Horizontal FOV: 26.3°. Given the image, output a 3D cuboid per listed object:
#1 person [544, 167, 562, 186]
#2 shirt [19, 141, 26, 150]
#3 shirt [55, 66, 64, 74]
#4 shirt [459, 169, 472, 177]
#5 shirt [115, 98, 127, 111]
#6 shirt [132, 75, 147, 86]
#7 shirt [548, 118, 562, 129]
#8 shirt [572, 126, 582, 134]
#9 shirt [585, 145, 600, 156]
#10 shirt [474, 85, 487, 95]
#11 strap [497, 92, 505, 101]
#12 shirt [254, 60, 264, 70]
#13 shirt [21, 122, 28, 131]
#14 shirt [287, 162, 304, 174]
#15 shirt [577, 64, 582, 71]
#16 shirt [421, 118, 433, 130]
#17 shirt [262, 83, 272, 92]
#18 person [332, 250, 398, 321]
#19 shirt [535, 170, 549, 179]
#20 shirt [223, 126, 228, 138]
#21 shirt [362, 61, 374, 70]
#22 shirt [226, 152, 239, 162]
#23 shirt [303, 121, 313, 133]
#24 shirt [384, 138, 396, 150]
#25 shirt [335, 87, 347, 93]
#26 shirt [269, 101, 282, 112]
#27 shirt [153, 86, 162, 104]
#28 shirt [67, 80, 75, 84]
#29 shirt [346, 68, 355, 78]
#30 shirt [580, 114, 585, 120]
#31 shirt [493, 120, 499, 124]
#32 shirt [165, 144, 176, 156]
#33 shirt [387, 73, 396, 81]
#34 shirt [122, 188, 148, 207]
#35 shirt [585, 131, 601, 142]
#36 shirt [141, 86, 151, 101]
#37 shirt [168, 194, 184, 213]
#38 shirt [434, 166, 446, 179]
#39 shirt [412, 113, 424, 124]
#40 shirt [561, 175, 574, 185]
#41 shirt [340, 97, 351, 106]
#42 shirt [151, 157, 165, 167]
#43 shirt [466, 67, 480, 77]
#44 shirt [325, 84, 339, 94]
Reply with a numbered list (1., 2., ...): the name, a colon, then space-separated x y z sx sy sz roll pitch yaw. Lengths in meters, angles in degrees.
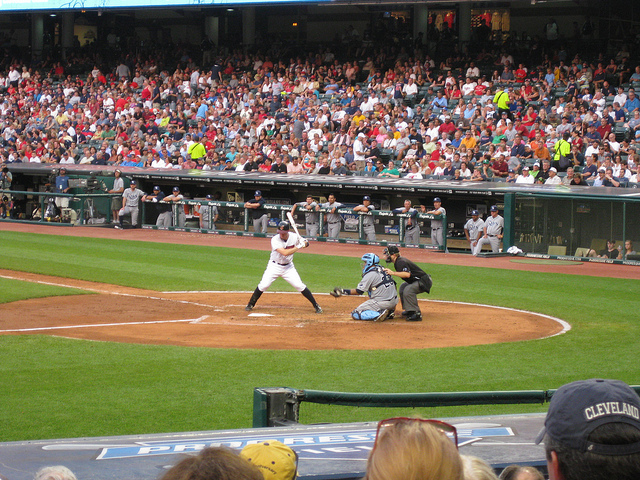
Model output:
1. person: 8.028 -2.153 46.456 0.519 0.743 0.849 -3 5 -9
2. shirt: -13.147 -4.194 59.877 0.369 0.259 0.366 -10 23 -39
3. shirt: -12.852 -8.356 67.014 0.423 0.348 0.324 2 2 -15
4. shirt: 5.140 -2.370 48.166 0.477 0.176 0.244 4 37 44
5. shirt: -8.932 -6.069 61.011 0.659 0.545 0.335 4 -10 1
6. shirt: -8.317 -7.361 62.681 0.645 0.572 0.333 7 -36 25
7. shirt: 8.396 -4.166 48.417 0.284 0.285 0.356 -5 -12 26
8. shirt: 9.019 -3.875 47.556 0.231 0.276 0.259 -4 -18 -23
9. shirt: 9.367 -3.001 46.750 0.299 0.374 0.520 18 14 -25
10. shirt: 6.151 -5.800 52.391 0.503 0.380 0.204 3 2 28
11. strap: 6.693 -5.313 50.276 0.091 0.310 0.304 19 -3 -29
12. shirt: -2.740 -7.833 60.872 0.406 0.454 0.565 2 1 -5
13. shirt: -13.579 -5.194 62.168 0.280 0.385 0.688 2 1 4
14. shirt: -0.938 -2.775 51.542 0.815 0.341 0.248 3 2 34
15. shirt: 9.829 -6.534 51.460 0.223 0.048 0.213 18 40 19
16. shirt: 3.989 -4.370 50.925 0.414 0.400 0.624 2 1 3
17. shirt: -2.272 -6.492 57.802 0.363 0.395 0.282 2 2 0
18. person: 1.397 1.275 37.677 1.485 1.821 0.474 2 2 1
19. shirt: 7.643 -2.283 46.754 0.191 0.304 0.520 1 2 -37
20. shirt: -3.898 -4.472 55.808 0.186 0.417 0.607 2 1 -5
21. shirt: 2.021 -7.337 57.304 0.461 0.255 0.293 -8 18 1
22. shirt: -3.574 -3.340 53.975 0.385 0.343 0.707 2 1 -20
23. shirt: -0.466 -4.548 54.021 0.411 0.502 0.287 0 -1 3
24. shirt: 2.622 -3.634 51.052 0.338 0.405 0.445 -1 -19 6
25. shirt: 0.872 -6.184 55.939 0.408 0.289 1.018 2 1 -3
26. shirt: -1.830 -5.475 55.589 0.598 0.430 0.207 3 -7 20
27. shirt: -7.299 -6.470 60.774 0.353 0.805 0.579 -10 -14 -3
28. shirt: -11.862 -7.492 64.498 0.187 0.195 0.466 2 1 11
29. shirt: 1.246 -7.006 56.929 0.319 0.358 0.242 2 2 1
30. shirt: 9.277 -4.344 48.109 0.193 0.162 0.103 4 13 15
31. shirt: 6.494 -4.360 50.012 0.144 0.165 0.369 2 1 12
32. shirt: -6.037 -3.716 55.443 0.642 0.547 0.336 -1 -3 7
33. shirt: 2.853 -6.585 54.786 0.445 0.315 0.235 -1 -14 8
34. shirt: -7.275 -1.700 52.699 0.780 0.527 0.719 5 31 2
35. shirt: 9.464 -3.632 47.228 0.554 0.392 0.310 3 -2 45
36. shirt: -7.786 -6.559 61.025 0.462 0.612 0.211 4 2 45
37. shirt: -5.403 -1.449 52.016 0.830 0.944 0.557 -1 0 -6
38. shirt: 4.298 -2.445 48.596 0.327 0.407 0.158 0 -19 15
39. shirt: 3.725 -4.673 51.945 0.318 0.132 0.400 0 31 22
40. shirt: 8.434 -2.062 46.328 0.202 0.285 0.560 2 1 -12
41. shirt: 1.044 -5.542 54.476 0.333 0.332 0.773 2 1 -19
42. shirt: -6.521 -3.121 54.485 0.445 0.382 0.247 3 -5 9
43. shirt: 6.026 -6.576 53.521 0.640 0.435 0.336 0 -16 19
44. shirt: 0.483 -6.243 56.208 0.544 0.406 0.432 2 2 7
